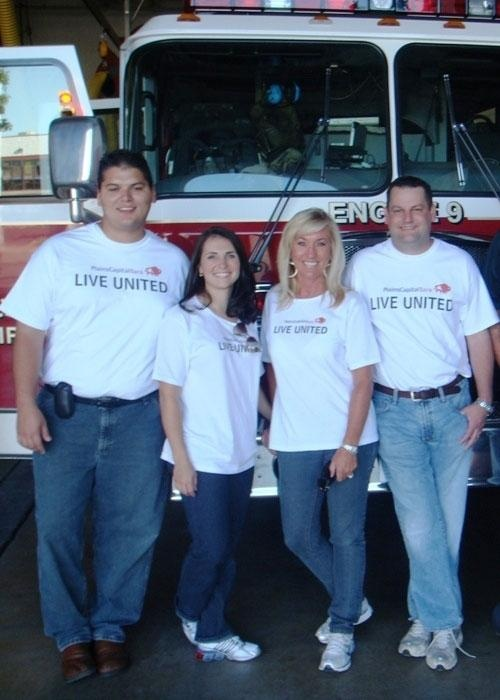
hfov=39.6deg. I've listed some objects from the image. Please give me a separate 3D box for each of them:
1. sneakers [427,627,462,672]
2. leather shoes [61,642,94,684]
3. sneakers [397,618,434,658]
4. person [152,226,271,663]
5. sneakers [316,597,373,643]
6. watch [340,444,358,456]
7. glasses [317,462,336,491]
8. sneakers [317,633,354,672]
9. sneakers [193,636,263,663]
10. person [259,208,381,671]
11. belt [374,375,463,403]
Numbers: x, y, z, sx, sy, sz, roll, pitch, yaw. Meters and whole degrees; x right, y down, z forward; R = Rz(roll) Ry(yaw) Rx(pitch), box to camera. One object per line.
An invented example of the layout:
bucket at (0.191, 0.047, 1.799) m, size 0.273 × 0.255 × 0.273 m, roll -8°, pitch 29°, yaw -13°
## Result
sneakers at (0.774, 1.211, 2.802) m, size 0.124 × 0.109 × 0.141 m, roll 1°, pitch 7°, yaw 12°
leather shoes at (-0.658, 1.205, 2.707) m, size 0.145 × 0.115 × 0.119 m, roll -6°, pitch 8°, yaw -37°
sneakers at (0.682, 1.204, 2.868) m, size 0.081 × 0.073 × 0.193 m, roll 0°, pitch -8°, yaw 22°
person at (-0.149, 0.399, 2.798) m, size 0.355 × 1.767 × 0.414 m, roll 0°, pitch 7°, yaw 9°
sneakers at (0.419, 1.192, 3.103) m, size 0.112 × 0.130 × 0.335 m, roll 1°, pitch 6°, yaw 40°
watch at (0.391, 0.396, 2.722) m, size 0.044 × 0.025 × 0.050 m, roll 20°, pitch 1°, yaw -44°
glasses at (0.303, 0.512, 2.801) m, size 0.078 × 0.094 × 0.037 m, roll -4°, pitch 14°, yaw -30°
sneakers at (0.334, 1.211, 2.784) m, size 0.083 × 0.073 × 0.185 m, roll -1°, pitch 0°, yaw 18°
sneakers at (-0.091, 1.228, 2.904) m, size 0.273 × 0.110 × 0.098 m, roll -1°, pitch 10°, yaw -4°
person at (0.292, 0.340, 2.898) m, size 0.381 × 1.840 × 0.509 m, roll -7°, pitch 9°, yaw -38°
belt at (0.708, 0.167, 2.924) m, size 0.363 × 0.081 × 0.125 m, roll 0°, pitch 6°, yaw 8°
